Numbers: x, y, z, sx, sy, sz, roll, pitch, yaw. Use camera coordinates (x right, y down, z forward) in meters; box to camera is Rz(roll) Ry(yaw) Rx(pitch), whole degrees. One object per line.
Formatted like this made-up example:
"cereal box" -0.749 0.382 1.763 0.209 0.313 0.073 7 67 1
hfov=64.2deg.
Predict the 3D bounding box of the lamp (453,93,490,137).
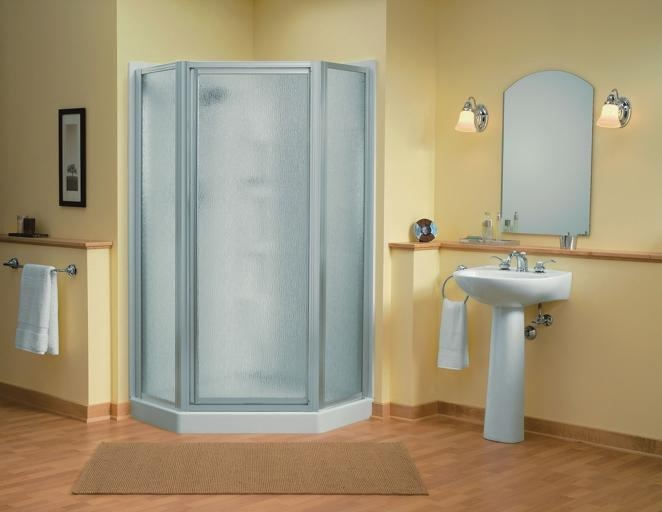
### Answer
"lamp" 1.058 -1.070 3.932 0.236 0.294 0.263 2 3 17

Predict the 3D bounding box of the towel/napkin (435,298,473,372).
"towel/napkin" 0.859 0.537 3.696 0.199 0.469 0.111 2 2 17

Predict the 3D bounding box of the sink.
"sink" 1.163 0.219 3.528 0.592 0.265 0.693 -3 5 -35

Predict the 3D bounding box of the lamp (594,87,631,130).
"lamp" 1.817 -0.954 3.356 0.188 0.274 0.255 2 3 28
